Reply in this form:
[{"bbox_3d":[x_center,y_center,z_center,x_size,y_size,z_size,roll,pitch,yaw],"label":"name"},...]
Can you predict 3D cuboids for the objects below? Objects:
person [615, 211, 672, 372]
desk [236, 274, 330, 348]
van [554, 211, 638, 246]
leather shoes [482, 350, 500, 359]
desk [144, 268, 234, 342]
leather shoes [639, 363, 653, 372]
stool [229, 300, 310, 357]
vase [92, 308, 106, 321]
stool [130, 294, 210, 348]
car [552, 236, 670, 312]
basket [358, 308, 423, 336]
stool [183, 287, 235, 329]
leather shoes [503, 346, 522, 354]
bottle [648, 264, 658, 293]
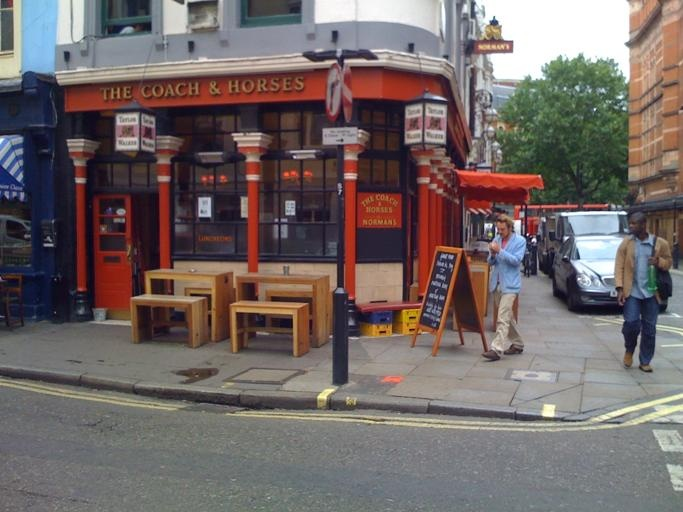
[{"bbox_3d":[4.742,0.560,13.073,0.814,2.529,0.616,3,12,20],"label":"person"},{"bbox_3d":[-1.076,0.964,15.608,1.648,1.308,0.925,3,7,17],"label":"desk"},{"bbox_3d":[6.915,-0.873,22.726,1.597,1.084,2.464,4,3,13],"label":"van"},{"bbox_3d":[2.485,1.648,13.668,0.235,0.109,0.136,6,2,0],"label":"leather shoes"},{"bbox_3d":[-2.865,0.877,15.625,1.440,1.325,0.644,5,10,14],"label":"desk"},{"bbox_3d":[4.836,1.761,13.060,0.205,0.118,0.192,0,12,3],"label":"leather shoes"},{"bbox_3d":[-1.286,1.267,14.618,1.240,0.852,0.705,2,3,11],"label":"stool"},{"bbox_3d":[-5.149,1.252,17.517,0.231,0.214,0.257,-1,-6,2],"label":"vase"},{"bbox_3d":[-3.123,1.148,15.399,1.411,0.928,1.081,3,13,17],"label":"stool"},{"bbox_3d":[6.305,0.288,20.365,1.828,1.599,4.683,0,5,5],"label":"car"},{"bbox_3d":[0.938,1.278,15.959,1.139,0.504,0.377,-5,13,-17],"label":"basket"},{"bbox_3d":[-2.615,1.078,16.101,0.895,0.905,0.695,-1,-3,8],"label":"stool"},{"bbox_3d":[2.943,1.613,14.150,0.333,0.165,0.128,0,-2,-5],"label":"leather shoes"},{"bbox_3d":[4.861,0.355,12.890,0.152,0.441,0.141,-1,12,0],"label":"bottle"}]
